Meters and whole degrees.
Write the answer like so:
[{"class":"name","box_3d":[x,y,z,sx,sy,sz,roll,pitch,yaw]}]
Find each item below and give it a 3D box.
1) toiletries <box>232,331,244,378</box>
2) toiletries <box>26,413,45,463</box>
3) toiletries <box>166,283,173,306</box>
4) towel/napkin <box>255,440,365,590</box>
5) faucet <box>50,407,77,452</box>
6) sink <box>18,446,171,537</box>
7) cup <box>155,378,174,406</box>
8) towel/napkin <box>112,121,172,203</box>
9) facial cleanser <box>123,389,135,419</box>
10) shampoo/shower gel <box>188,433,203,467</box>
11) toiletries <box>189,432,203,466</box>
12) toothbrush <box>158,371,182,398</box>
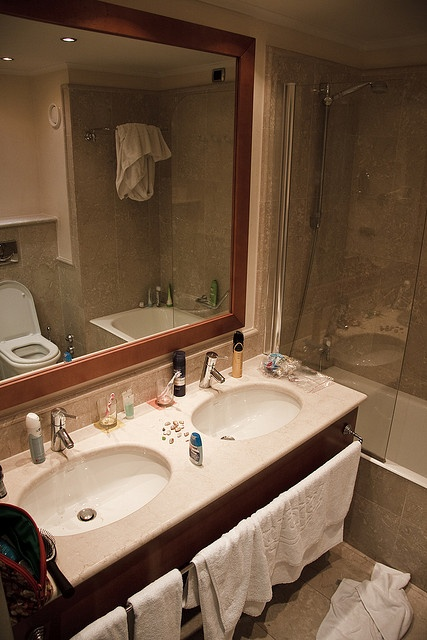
[{"class":"toiletries","box_3d":[0.105,0.144,2.010,0.046,0.201,0.091,3,19,3]},{"class":"toiletries","box_3d":[-0.518,0.340,1.336,0.043,0.161,0.053,-7,20,-24]},{"class":"toiletries","box_3d":[-0.166,-0.091,1.733,0.008,0.092,0.038,13,22,31]},{"class":"towel/napkin","box_3d":[0.354,0.731,1.722,0.101,0.542,0.597,24,41,38]},{"class":"faucet","box_3d":[-0.472,0.326,1.428,0.075,0.140,0.153,-6,21,-21]},{"class":"sink","box_3d":[-0.342,0.489,1.348,0.425,0.123,0.212,-9,23,-29]},{"class":"cup","box_3d":[-0.187,0.276,1.789,0.068,0.094,0.094,-2,19,-5]},{"class":"towel/napkin","box_3d":[-0.241,-0.526,1.500,0.079,0.244,0.213,12,25,36]},{"class":"facial cleanser","box_3d":[-0.305,0.301,1.638,0.038,0.103,0.052,-4,20,-17]},{"class":"shampoo/shower gel","box_3d":[-0.057,0.402,1.408,0.030,0.119,0.061,-19,29,-34]},{"class":"toiletries","box_3d":[-0.056,0.399,1.409,0.030,0.115,0.059,-19,29,-34]},{"class":"toothbrush","box_3d":[-0.173,0.247,1.784,0.103,0.114,0.061,-15,25,-40]}]
